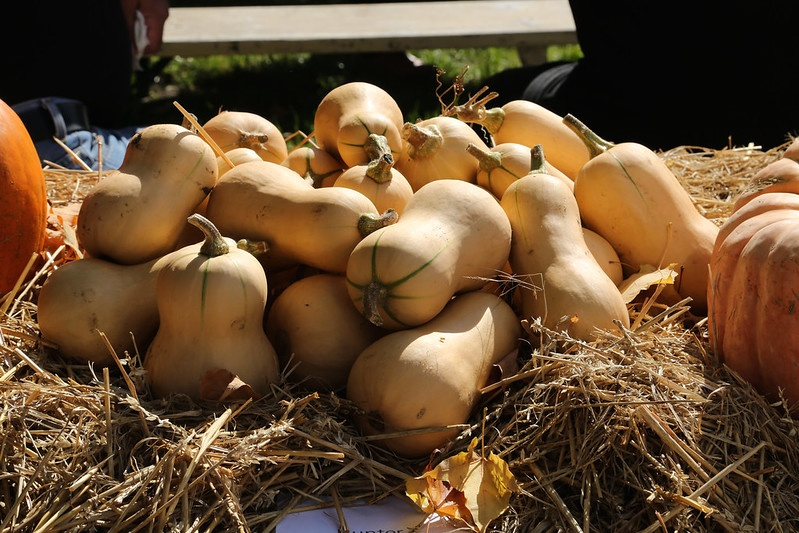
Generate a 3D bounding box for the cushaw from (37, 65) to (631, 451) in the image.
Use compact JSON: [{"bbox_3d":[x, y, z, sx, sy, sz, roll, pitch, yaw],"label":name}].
[{"bbox_3d":[-0.182,0.045,2.456,1.356,0.538,1.245,11,18,26],"label":"cushaw"}]
